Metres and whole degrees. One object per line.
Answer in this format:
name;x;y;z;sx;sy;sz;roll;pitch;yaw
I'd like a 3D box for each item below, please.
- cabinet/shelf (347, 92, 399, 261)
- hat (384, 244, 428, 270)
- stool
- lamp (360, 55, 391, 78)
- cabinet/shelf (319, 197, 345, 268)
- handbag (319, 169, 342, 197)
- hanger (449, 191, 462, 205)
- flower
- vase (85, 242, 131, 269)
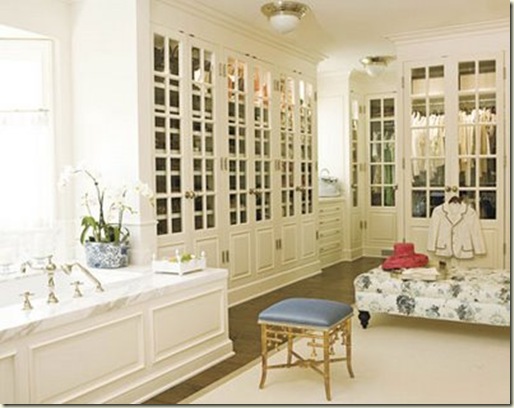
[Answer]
cabinet/shelf;2.047;-0.493;7.091;0.848;2.900;0.480;-1;3;6
hat;1.429;0.501;3.842;0.342;0.230;0.433;2;4;42
stool;0.327;0.947;2.854;0.634;0.586;0.640;3;8;31
lamp;1.821;-2.074;6.085;0.433;0.246;0.383;-3;4;-35
cabinet/shelf;1.201;0.459;7.170;0.452;1.049;1.129;0;-5;-3
handbag;1.272;-0.349;6.899;0.522;0.504;0.188;-2;2;-28
hanger;2.365;-0.069;4.771;0.163;0.206;0.025;4;-1;42
flower;-1.203;0.019;3.455;0.724;0.658;0.340;3;-1;-26
vase;-1.272;0.417;3.429;0.345;0.199;0.339;0;1;12
